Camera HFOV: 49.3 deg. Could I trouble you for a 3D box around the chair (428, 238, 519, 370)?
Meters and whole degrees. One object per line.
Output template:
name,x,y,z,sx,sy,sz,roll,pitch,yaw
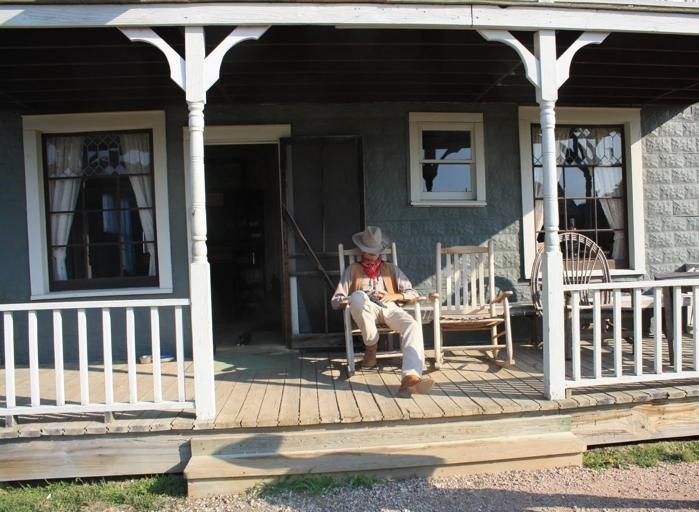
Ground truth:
chair,1.230,0.505,8.160,1.037,1.357,1.159,-1,-1,-21

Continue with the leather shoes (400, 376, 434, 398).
leather shoes,0.618,1.221,7.172,0.308,0.186,0.230,-2,-2,3

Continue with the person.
person,0.389,0.499,7.819,0.851,1.672,1.292,0,-2,-36

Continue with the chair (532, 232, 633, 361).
chair,2.598,0.344,8.070,0.964,1.310,0.962,-4,-8,-12

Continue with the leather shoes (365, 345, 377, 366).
leather shoes,0.206,1.039,7.946,0.143,0.265,0.307,-2,-2,0
